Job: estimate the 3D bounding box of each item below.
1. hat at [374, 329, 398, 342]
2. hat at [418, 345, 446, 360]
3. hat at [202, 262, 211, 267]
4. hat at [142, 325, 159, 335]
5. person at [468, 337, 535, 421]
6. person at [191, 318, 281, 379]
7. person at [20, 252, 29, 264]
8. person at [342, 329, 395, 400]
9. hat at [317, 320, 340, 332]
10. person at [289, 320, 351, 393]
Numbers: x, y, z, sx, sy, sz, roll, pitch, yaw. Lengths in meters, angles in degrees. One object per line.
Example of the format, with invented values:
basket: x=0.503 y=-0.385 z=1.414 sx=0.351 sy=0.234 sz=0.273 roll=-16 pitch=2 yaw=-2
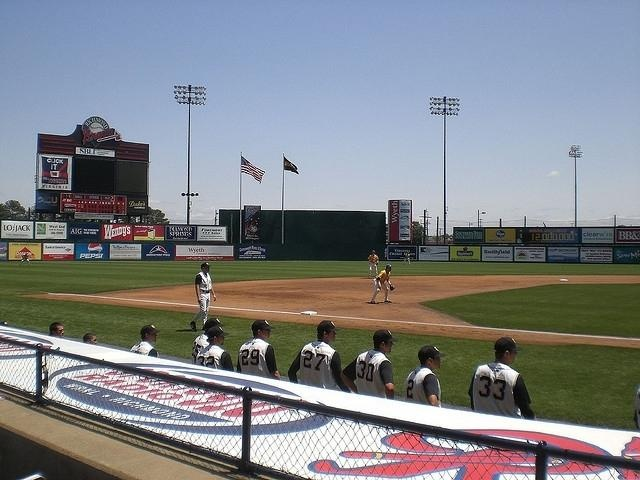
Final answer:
hat: x=0.869 y=1.293 z=9.146 sx=0.280 sy=0.142 sz=0.197 roll=-4 pitch=10 yaw=-28
hat: x=1.421 y=1.454 z=8.782 sx=0.329 sy=0.156 sz=0.201 roll=0 pitch=5 yaw=-9
hat: x=-2.893 y=0.634 z=17.369 sx=0.186 sy=0.122 sz=0.251 roll=-1 pitch=-3 yaw=-41
hat: x=-2.588 y=1.377 z=10.544 sx=0.210 sy=0.088 sz=0.146 roll=-2 pitch=7 yaw=-19
person: x=2.174 y=1.648 z=8.304 sx=0.583 sy=0.871 sz=0.751 roll=0 pitch=2 yaw=-14
person: x=-1.142 y=1.504 z=9.570 sx=1.081 sy=0.697 sz=0.802 roll=0 pitch=2 yaw=-8
person: x=-20.780 y=1.210 z=48.618 sx=0.637 sy=0.524 sz=1.055 roll=0 pitch=2 yaw=-25
person: x=0.638 y=1.588 z=8.992 sx=0.643 sy=0.791 sz=0.771 roll=1 pitch=2 yaw=3
hat: x=0.115 y=1.204 z=9.484 sx=0.272 sy=0.138 sz=0.194 roll=-7 pitch=8 yaw=-17
person: x=0.069 y=1.545 z=9.381 sx=0.841 sy=0.856 sz=0.319 roll=2 pitch=2 yaw=42
